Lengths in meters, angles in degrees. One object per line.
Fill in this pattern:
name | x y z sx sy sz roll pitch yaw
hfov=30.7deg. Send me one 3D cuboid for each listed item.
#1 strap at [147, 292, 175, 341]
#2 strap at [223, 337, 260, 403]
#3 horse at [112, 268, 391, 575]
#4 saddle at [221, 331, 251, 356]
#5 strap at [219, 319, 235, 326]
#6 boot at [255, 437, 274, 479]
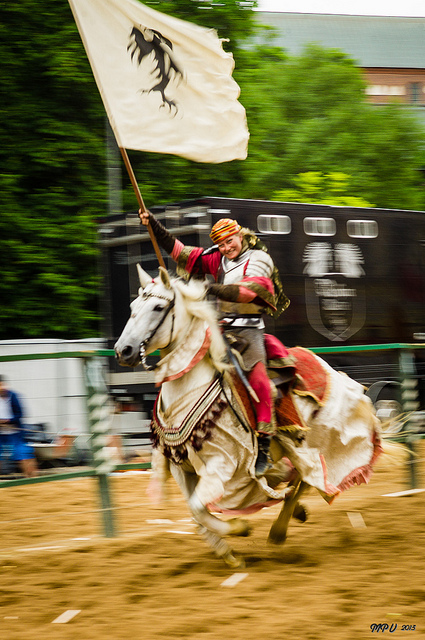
strap | -0.221 -0.020 3.886 0.058 0.033 0.335 15 50 34
strap | 0.154 0.273 4.089 0.153 0.333 0.069 -5 -6 3
horse | 0.165 0.575 4.295 0.507 1.650 1.801 -10 -8 39
saddle | 0.113 0.114 4.219 0.160 0.035 0.131 -5 42 -40
strap | 0.084 0.017 4.299 0.056 0.042 0.011 6 -36 20
boot | 0.280 0.731 4.146 0.077 0.212 0.155 -8 -7 30
